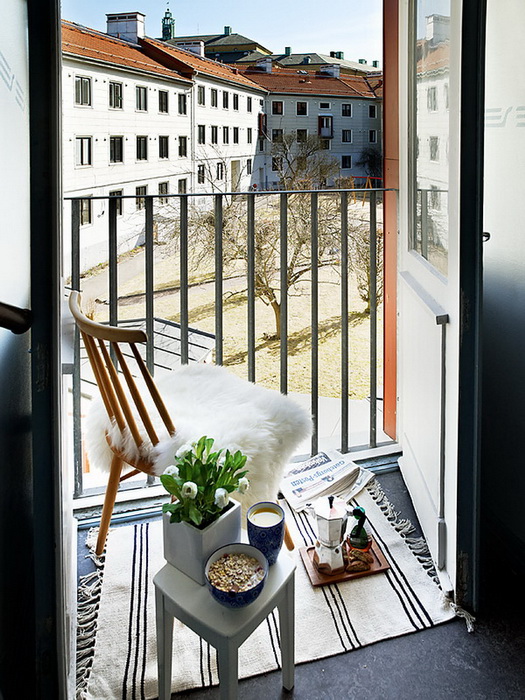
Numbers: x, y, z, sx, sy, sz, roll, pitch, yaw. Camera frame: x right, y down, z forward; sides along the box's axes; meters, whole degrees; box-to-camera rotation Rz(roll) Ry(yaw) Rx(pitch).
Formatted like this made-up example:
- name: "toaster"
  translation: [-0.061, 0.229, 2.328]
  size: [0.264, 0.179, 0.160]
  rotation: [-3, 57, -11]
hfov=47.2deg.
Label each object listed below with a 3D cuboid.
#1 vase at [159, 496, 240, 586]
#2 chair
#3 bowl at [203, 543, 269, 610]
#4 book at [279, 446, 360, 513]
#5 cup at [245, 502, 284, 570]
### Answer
- name: "vase"
  translation: [-0.103, 0.301, 1.071]
  size: [0.096, 0.166, 0.152]
  rotation: [5, 9, 34]
- name: "chair"
  translation: [-0.226, 0.253, 1.461]
  size: [0.400, 0.560, 0.415]
  rotation: [9, 3, 31]
- name: "bowl"
  translation: [-0.043, 0.360, 0.954]
  size: [0.098, 0.049, 0.122]
  rotation: [-2, 14, -8]
- name: "book"
  translation: [0.184, 0.436, 2.056]
  size: [0.212, 0.057, 0.207]
  rotation: [-32, 27, -33]
- name: "cup"
  translation: [0.006, 0.337, 1.100]
  size: [0.072, 0.102, 0.081]
  rotation: [-1, 6, -2]
